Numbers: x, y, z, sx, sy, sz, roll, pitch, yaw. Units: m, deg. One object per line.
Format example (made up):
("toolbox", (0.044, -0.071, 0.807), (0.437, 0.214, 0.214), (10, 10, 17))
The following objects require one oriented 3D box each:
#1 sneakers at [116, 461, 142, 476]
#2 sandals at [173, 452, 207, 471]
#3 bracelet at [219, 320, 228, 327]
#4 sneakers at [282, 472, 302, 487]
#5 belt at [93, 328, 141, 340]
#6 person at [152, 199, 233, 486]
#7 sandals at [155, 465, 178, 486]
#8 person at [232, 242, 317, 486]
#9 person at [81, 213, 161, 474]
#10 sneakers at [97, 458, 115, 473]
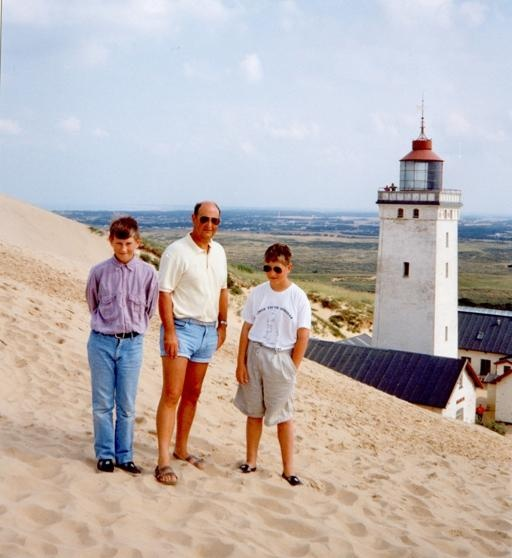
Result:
("sneakers", (-1.131, 1.645, 5.402), (0.246, 0.094, 0.090), (8, 6, 20))
("sandals", (-0.615, 1.733, 5.898), (0.289, 0.086, 0.119), (5, 7, 32))
("bracelet", (-0.314, 0.428, 5.900), (0.043, 0.064, 0.061), (6, -15, -21))
("sneakers", (0.348, 1.865, 5.748), (0.158, 0.094, 0.267), (12, -3, -13))
("belt", (-1.201, 0.481, 5.324), (0.372, 0.072, 0.090), (12, -3, -14))
("person", (-0.625, 0.523, 5.655), (0.549, 2.452, 0.804), (11, -3, 22))
("sandals", (-0.768, 1.673, 5.276), (0.203, 0.146, 0.198), (12, -3, -5))
("person", (0.183, 0.772, 5.825), (0.792, 2.066, 0.539), (12, -3, -2))
("person", (-1.194, 0.562, 5.377), (0.743, 2.212, 0.320), (13, -3, -15))
("sneakers", (-1.282, 1.592, 5.253), (0.123, 0.114, 0.089), (-6, 4, -21))
